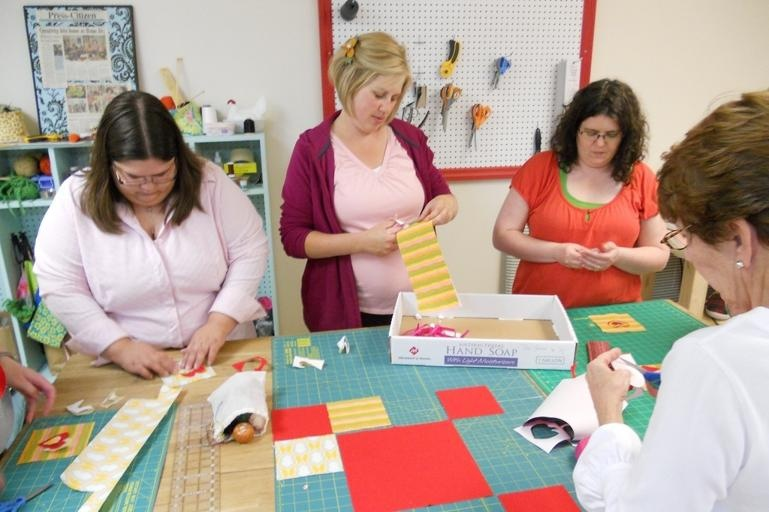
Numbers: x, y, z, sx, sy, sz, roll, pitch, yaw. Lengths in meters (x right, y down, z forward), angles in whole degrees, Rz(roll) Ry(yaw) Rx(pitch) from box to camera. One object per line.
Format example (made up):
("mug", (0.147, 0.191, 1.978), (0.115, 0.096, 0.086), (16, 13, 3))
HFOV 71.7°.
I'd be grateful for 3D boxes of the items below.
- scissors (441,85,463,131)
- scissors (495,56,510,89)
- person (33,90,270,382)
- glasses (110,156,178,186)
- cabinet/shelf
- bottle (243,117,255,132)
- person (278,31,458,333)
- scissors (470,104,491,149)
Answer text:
("scissors", (0.413, -0.945, 3.395), (0.135, 0.254, 0.051), (5, 32, -7))
("scissors", (0.764, -1.189, 3.445), (0.103, 0.180, 0.046), (2, 16, -11))
("person", (-0.938, -0.027, 2.157), (0.875, 1.157, 0.721), (-6, 38, -22))
("glasses", (-0.891, -0.312, 1.967), (0.214, 0.112, 0.110), (-10, 26, -24))
("cabinet/shelf", (-0.953, 0.126, 2.312), (0.965, 0.974, 0.900), (-14, 37, -32))
("bottle", (-0.813, -0.784, 3.177), (0.071, 0.104, 0.075), (0, 12, 0))
("person", (-0.085, -0.290, 2.427), (0.788, 1.332, 0.530), (-4, 24, -11))
("scissors", (0.617, -0.857, 3.461), (0.124, 0.232, 0.088), (6, 10, 13))
